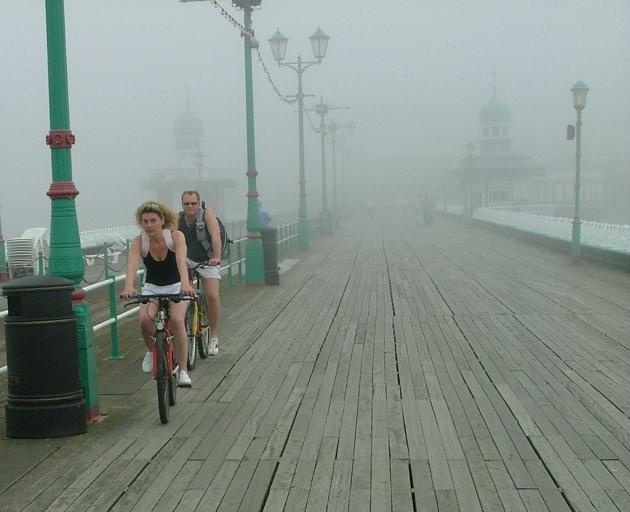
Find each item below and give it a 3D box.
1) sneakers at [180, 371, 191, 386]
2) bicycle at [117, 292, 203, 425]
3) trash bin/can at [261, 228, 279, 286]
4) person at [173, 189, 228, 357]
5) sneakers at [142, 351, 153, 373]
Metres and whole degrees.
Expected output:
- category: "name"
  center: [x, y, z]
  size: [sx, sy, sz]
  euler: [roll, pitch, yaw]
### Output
- category: "sneakers"
  center: [-1.263, 1.196, 7.314]
  size: [0.127, 0.175, 0.358]
  euler: [0, -8, -11]
- category: "bicycle"
  center: [-1.378, 0.880, 6.969]
  size: [0.561, 1.150, 0.978]
  euler: [-2, 6, -11]
- category: "trash bin/can"
  center: [-0.934, -0.001, 15.726]
  size: [0.348, 1.176, 0.529]
  euler: [-1, 5, -5]
- category: "person"
  center: [-1.399, 0.168, 8.935]
  size: [0.679, 1.968, 0.967]
  euler: [0, 3, 18]
- category: "sneakers"
  center: [-1.696, 1.065, 7.581]
  size: [0.106, 0.178, 0.355]
  euler: [-1, 8, -4]
